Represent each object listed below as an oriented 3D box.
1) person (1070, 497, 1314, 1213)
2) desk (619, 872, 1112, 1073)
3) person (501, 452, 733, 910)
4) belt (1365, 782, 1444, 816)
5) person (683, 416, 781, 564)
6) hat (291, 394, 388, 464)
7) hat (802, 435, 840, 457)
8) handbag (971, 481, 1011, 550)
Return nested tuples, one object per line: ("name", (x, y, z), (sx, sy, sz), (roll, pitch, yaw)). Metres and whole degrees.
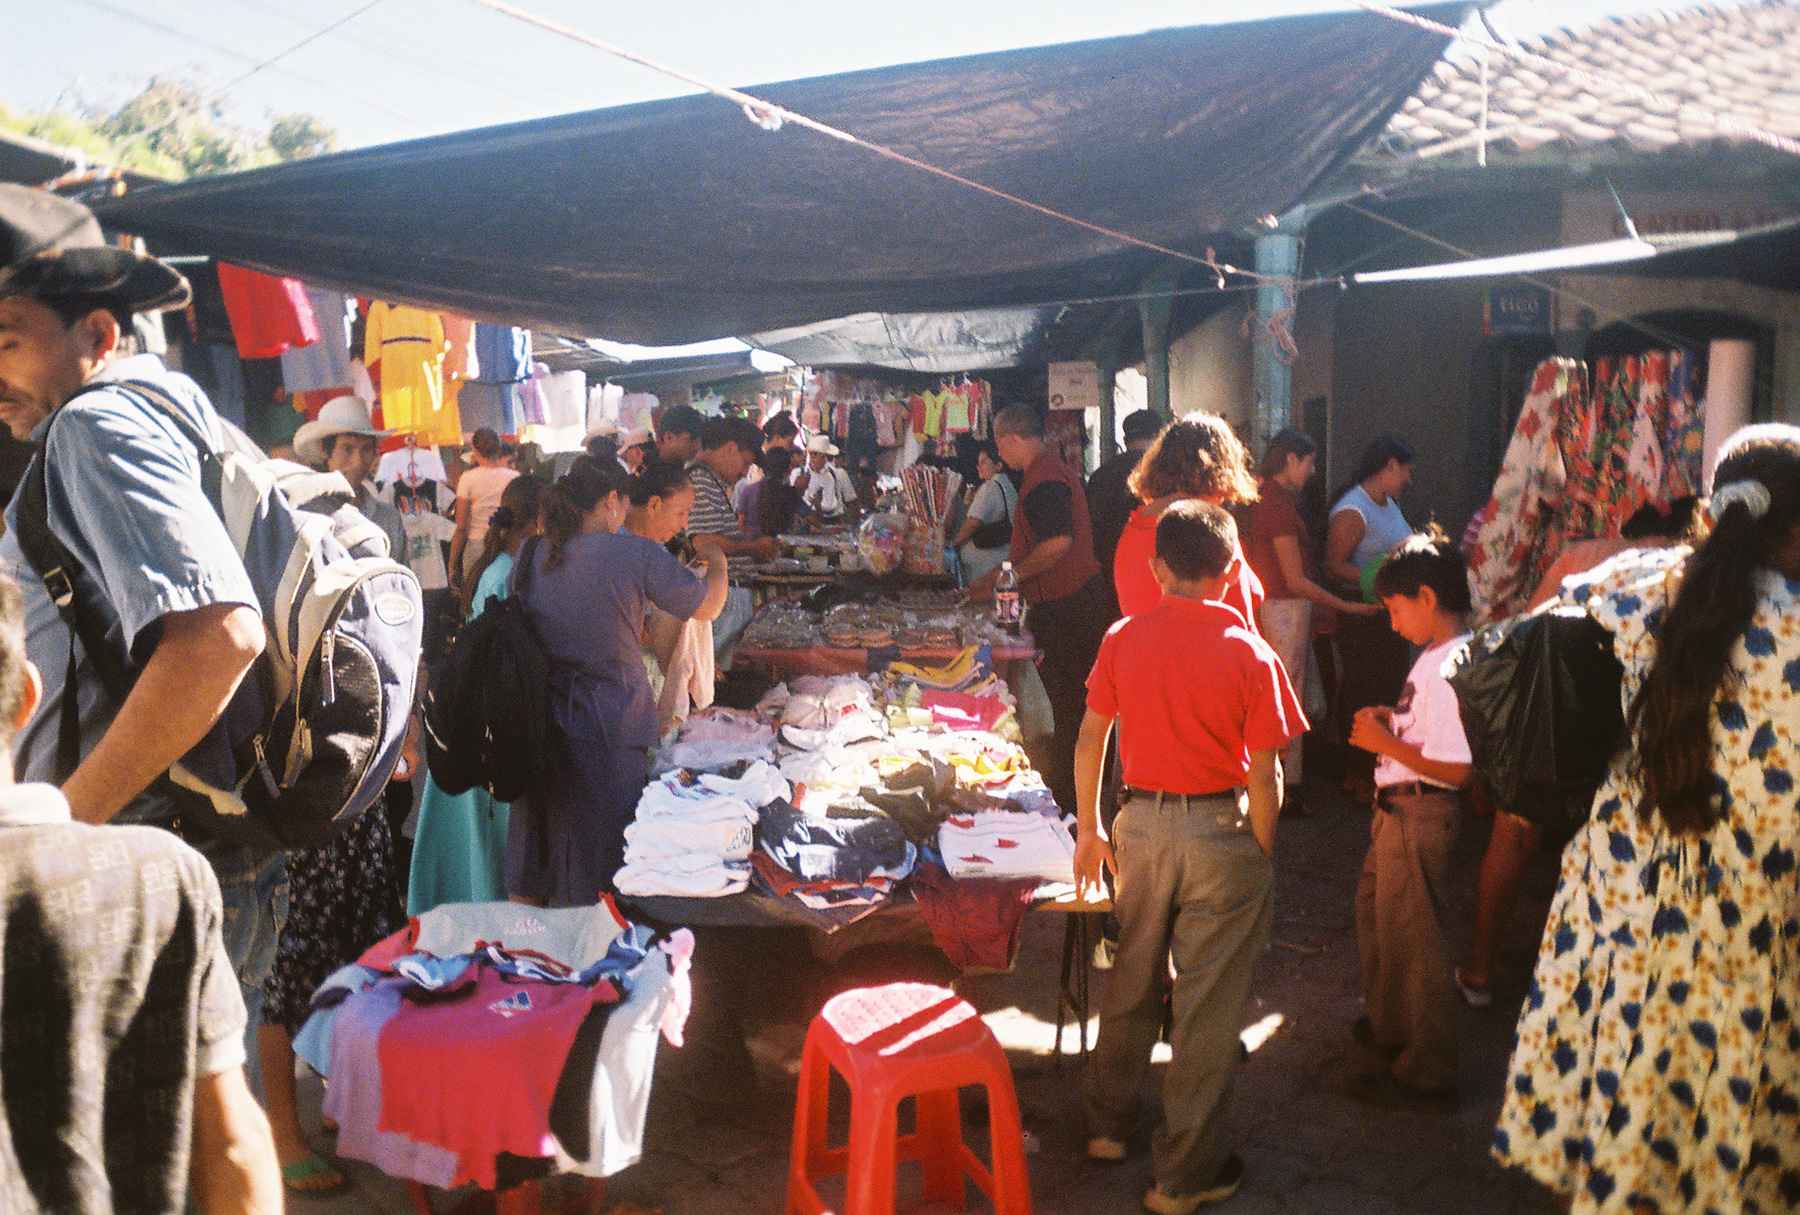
("person", (0.936, 1.003, 4.880), (0.735, 1.951, 0.639), (2, 15, 15))
("desk", (-0.055, 1.170, 5.087), (0.979, 0.328, 0.965), (-1, 4, -15))
("person", (-1.240, 0.321, 5.790), (0.555, 1.705, 0.726), (6, 16, 27))
("belt", (1.883, 0.724, 5.395), (0.132, 0.068, 0.172), (3, -1, -18))
("person", (-1.064, -0.584, 8.930), (0.559, 1.029, 0.551), (1, 8, -14))
("hat", (-2.709, -0.889, 6.950), (0.353, 0.168, 0.430), (-5, -10, -43))
("hat", (-0.961, -1.934, 17.907), (0.391, 0.154, 0.438), (4, -1, 6))
("handbag", (0.634, -0.606, 10.198), (0.255, 0.468, 0.446), (8, 11, 41))
